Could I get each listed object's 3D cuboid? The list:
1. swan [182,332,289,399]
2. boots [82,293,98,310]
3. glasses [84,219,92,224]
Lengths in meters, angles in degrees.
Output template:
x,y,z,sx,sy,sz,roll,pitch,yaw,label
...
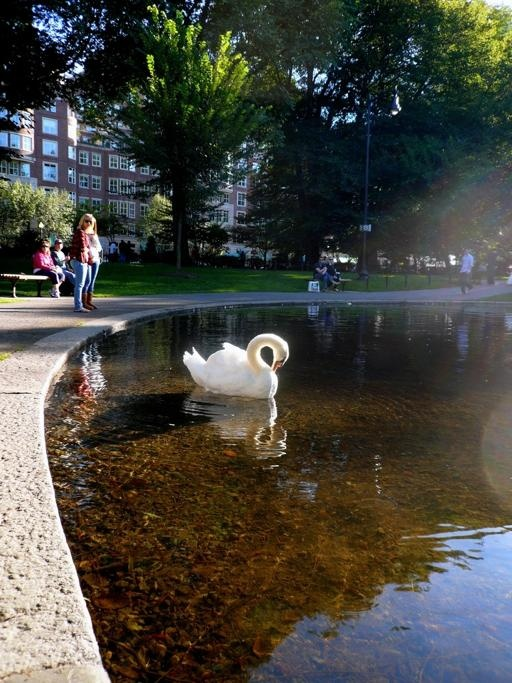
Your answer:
x,y,z,sx,sy,sz,roll,pitch,yaw,label
-0.278,0.230,5.698,1.024,0.720,0.563,15,14,20,swan
-4.150,-0.979,14.175,0.398,0.433,0.376,1,8,0,boots
-3.685,-2.658,12.767,0.065,0.090,0.168,6,8,17,glasses
